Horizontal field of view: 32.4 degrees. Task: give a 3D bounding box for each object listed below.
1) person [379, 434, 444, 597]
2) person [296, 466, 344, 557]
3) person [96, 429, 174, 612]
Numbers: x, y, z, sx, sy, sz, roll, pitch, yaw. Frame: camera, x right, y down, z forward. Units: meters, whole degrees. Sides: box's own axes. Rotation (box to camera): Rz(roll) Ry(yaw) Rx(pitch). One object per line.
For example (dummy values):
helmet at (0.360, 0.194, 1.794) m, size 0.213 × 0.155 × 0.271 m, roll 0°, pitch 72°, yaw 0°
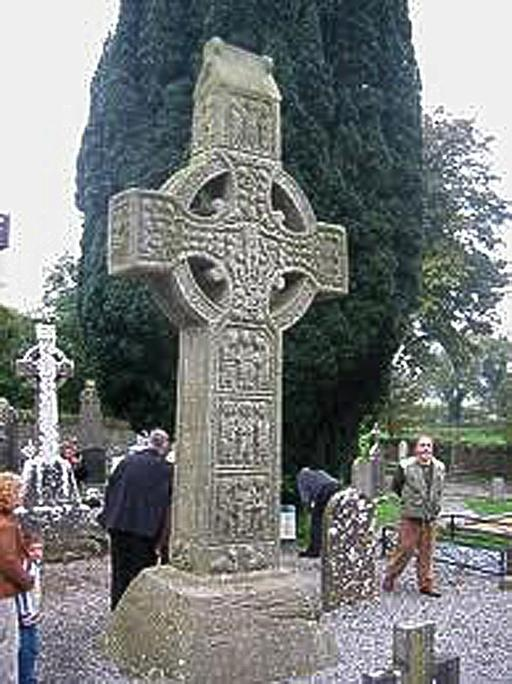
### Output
person at (1.124, 1.273, 6.439) m, size 0.456 × 1.169 × 0.436 m, roll -3°, pitch -5°, yaw 17°
person at (0.563, 1.516, 7.688) m, size 0.311 × 0.790 × 0.777 m, roll -1°, pitch -5°, yaw -9°
person at (-0.669, 1.013, 4.996) m, size 0.450 × 1.006 × 0.294 m, roll -2°, pitch -4°, yaw 6°
